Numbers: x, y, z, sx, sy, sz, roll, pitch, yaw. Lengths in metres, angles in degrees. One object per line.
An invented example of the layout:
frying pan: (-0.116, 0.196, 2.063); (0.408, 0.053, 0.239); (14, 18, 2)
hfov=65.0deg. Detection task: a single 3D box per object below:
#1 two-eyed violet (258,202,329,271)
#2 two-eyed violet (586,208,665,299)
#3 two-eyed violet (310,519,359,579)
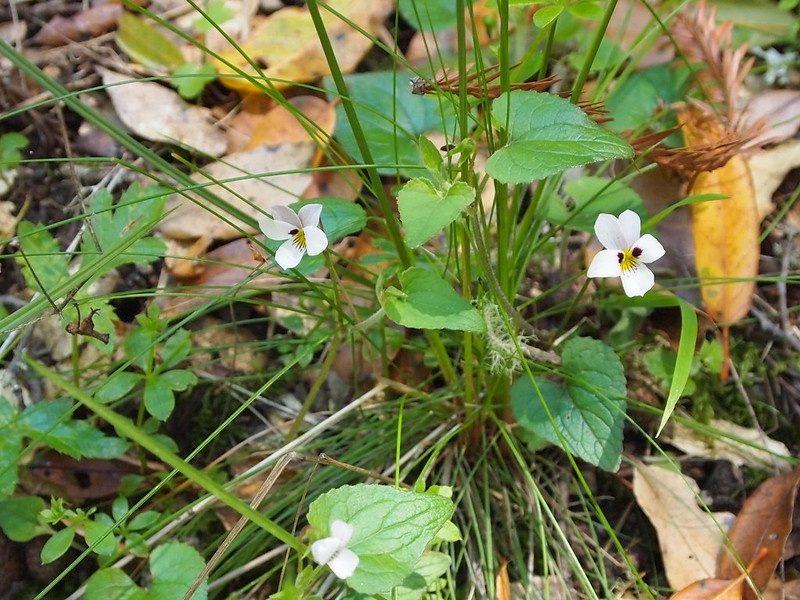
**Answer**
two-eyed violet: (-0.382, -0.271, 2.250); (0.241, 0.257, 0.135); (-23, 102, 2)
two-eyed violet: (0.813, -0.172, 2.351); (0.297, 0.096, 0.321); (-21, 98, -9)
two-eyed violet: (-0.228, 0.815, 2.038); (0.071, 0.179, 0.168); (2, 35, 40)
